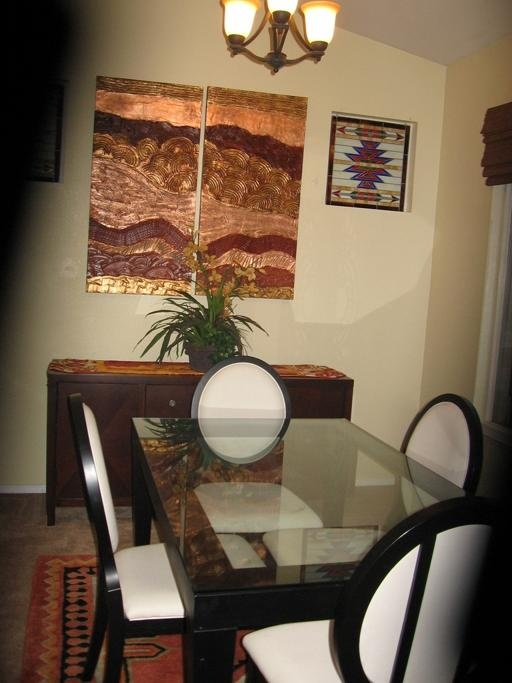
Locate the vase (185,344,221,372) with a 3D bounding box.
[{"bbox_3d":[-0.313,0.096,3.104,0.155,0.121,0.160,2,0,7],"label":"vase"}]

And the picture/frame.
[{"bbox_3d":[0.763,-1.247,3.661,0.627,0.625,0.045,6,6,-19],"label":"picture/frame"}]

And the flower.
[{"bbox_3d":[-0.329,-0.240,3.378,0.716,0.736,0.819,2,-1,13],"label":"flower"}]
